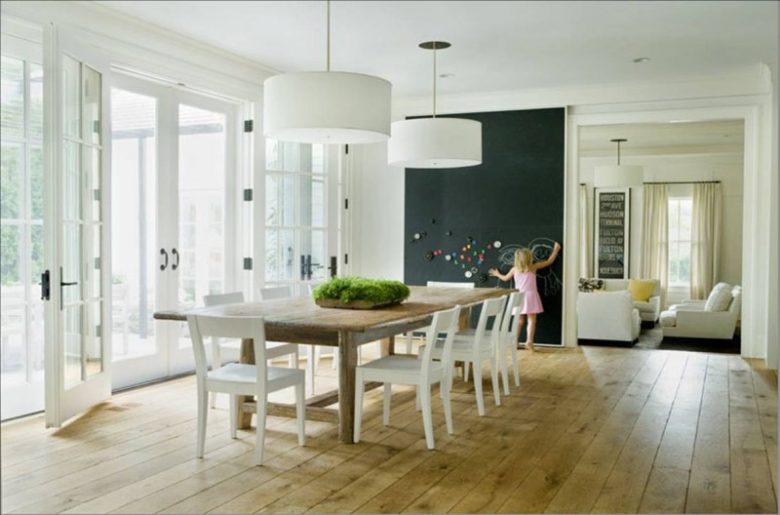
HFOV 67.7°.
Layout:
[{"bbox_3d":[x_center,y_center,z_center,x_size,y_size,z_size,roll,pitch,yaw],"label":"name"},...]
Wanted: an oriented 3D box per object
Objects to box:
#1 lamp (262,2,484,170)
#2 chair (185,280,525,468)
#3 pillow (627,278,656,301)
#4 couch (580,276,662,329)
[{"bbox_3d":[-0.194,-1.699,5.588,0.560,0.736,1.510,-3,-6,36],"label":"lamp"},{"bbox_3d":[-0.347,0.847,4.916,1.330,1.060,2.535,7,9,43],"label":"chair"},{"bbox_3d":[4.462,0.583,10.377,0.363,0.286,0.174,6,8,26],"label":"pillow"},{"bbox_3d":[4.166,0.748,10.693,1.400,0.650,0.750,2,14,27],"label":"couch"}]
